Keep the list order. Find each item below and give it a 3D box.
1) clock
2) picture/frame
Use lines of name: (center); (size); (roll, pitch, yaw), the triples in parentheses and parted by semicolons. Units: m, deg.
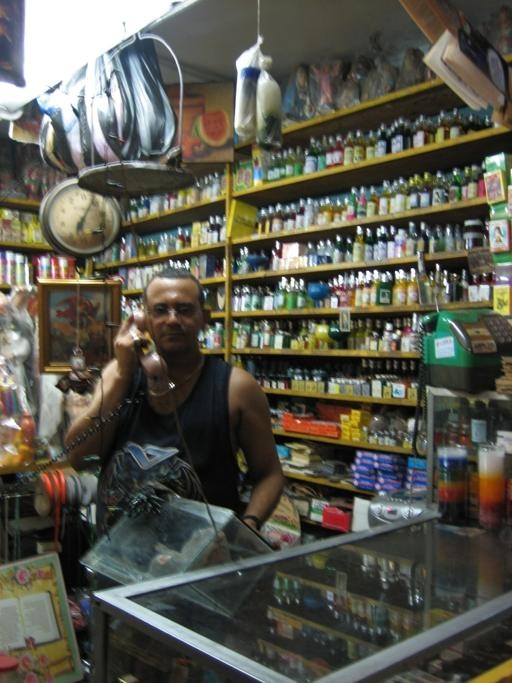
clock: (-0.162, -0.123, 0.495); (0.014, 0.062, 0.060); (-37, -29, 5)
picture/frame: (-0.154, -0.013, 0.463); (0.080, 0.100, 0.007); (-1, 5, -22)
